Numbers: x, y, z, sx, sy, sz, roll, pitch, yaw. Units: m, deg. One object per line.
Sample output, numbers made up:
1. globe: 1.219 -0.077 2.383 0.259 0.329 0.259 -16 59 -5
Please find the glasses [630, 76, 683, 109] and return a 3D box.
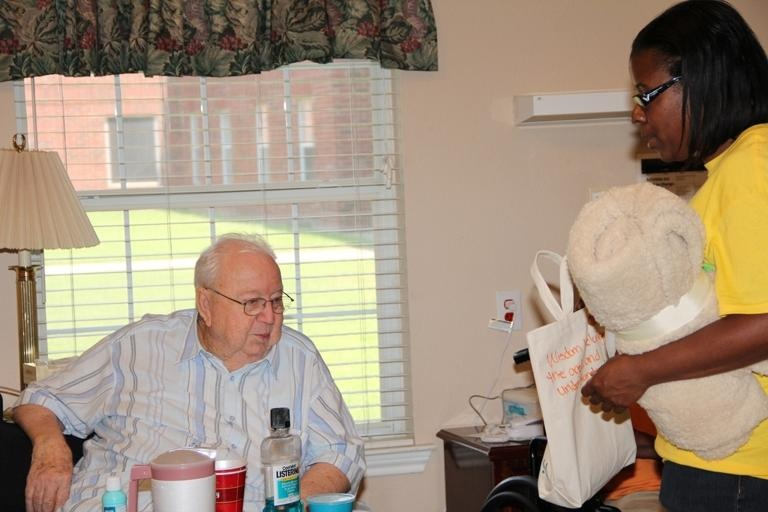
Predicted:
1. glasses: 0.758 -0.446 2.146 0.088 0.022 0.083 -30 4 -1
